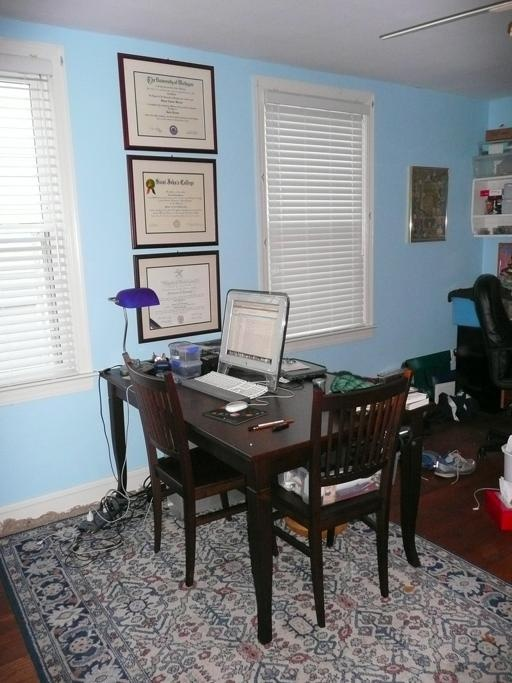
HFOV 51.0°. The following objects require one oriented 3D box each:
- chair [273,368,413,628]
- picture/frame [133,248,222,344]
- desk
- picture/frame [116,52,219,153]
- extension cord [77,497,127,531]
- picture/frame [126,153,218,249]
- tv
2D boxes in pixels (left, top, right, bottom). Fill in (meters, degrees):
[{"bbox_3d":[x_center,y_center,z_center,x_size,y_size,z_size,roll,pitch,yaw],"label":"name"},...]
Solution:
[{"bbox_3d":[0.308,0.539,1.952,0.534,0.886,0.394,-10,12,-40],"label":"chair"},{"bbox_3d":[-0.457,-0.262,2.969,0.505,0.467,0.018,-13,19,-31],"label":"picture/frame"},{"bbox_3d":[0.094,0.755,2.324,0.848,0.797,1.387,-16,22,-36],"label":"desk"},{"bbox_3d":[-0.485,-1.252,2.797,0.599,0.480,0.029,-9,16,-35],"label":"picture/frame"},{"bbox_3d":[-0.771,0.867,2.702,0.217,0.069,0.097,-24,24,-36],"label":"extension cord"},{"bbox_3d":[-0.477,-0.767,2.899,0.548,0.488,0.036,-9,13,-37],"label":"picture/frame"},{"bbox_3d":[-0.013,0.010,2.419,0.057,0.429,0.434,6,9,-38],"label":"tv"}]
